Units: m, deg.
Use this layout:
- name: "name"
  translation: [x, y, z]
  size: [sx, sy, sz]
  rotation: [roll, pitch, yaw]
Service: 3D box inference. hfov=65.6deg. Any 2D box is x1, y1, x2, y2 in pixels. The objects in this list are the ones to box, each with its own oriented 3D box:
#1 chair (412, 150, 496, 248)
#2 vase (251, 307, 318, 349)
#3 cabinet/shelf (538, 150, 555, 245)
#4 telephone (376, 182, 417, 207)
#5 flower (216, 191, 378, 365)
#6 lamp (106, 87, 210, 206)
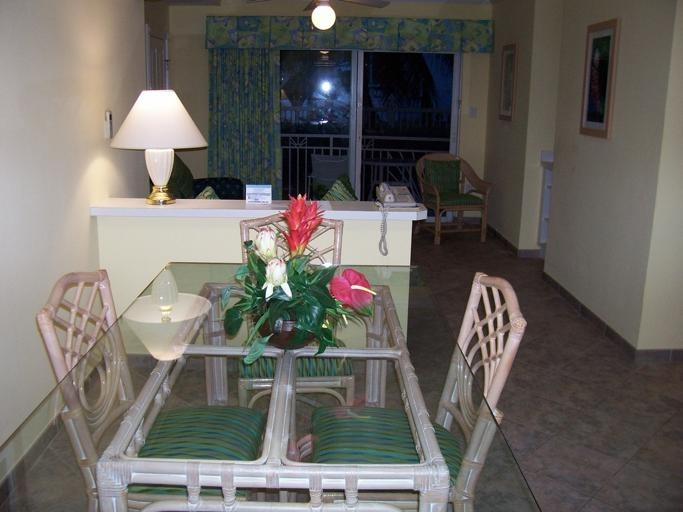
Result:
- name: "chair"
  translation: [1.585, -0.842, 7.311]
  size: [1.046, 1.103, 1.264]
  rotation: [-2, 16, -1]
- name: "vase"
  translation: [-0.195, 0.266, 1.874]
  size: [0.210, 0.144, 0.219]
  rotation: [11, 11, -5]
- name: "cabinet/shelf"
  translation: [2.493, -0.775, 6.354]
  size: [0.216, 0.693, 0.431]
  rotation: [3, 11, 25]
- name: "telephone"
  translation: [0.375, -0.417, 3.806]
  size: [0.195, 0.114, 0.290]
  rotation: [0, 20, -4]
- name: "flower"
  translation: [-0.133, 0.074, 1.816]
  size: [0.551, 0.554, 0.499]
  rotation: [9, 18, 27]
- name: "lamp"
  translation: [-1.211, -0.722, 3.545]
  size: [0.603, 0.758, 0.604]
  rotation: [9, 13, 32]
